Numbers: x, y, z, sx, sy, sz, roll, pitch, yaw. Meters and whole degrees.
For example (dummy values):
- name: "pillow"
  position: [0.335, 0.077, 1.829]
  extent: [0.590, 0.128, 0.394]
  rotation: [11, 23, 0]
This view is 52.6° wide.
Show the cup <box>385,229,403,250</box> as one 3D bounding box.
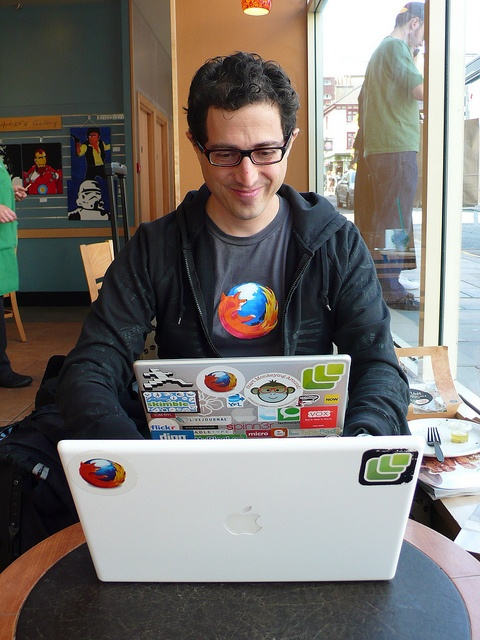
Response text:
- name: "cup"
  position: [0.731, -0.382, 2.298]
  extent: [0.088, 0.099, 0.089]
  rotation: [0, 2, 0]

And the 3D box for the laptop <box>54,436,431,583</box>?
- name: "laptop"
  position: [0.005, 0.148, 0.598]
  extent: [0.346, 0.218, 0.236]
  rotation: [-2, 31, 1]
